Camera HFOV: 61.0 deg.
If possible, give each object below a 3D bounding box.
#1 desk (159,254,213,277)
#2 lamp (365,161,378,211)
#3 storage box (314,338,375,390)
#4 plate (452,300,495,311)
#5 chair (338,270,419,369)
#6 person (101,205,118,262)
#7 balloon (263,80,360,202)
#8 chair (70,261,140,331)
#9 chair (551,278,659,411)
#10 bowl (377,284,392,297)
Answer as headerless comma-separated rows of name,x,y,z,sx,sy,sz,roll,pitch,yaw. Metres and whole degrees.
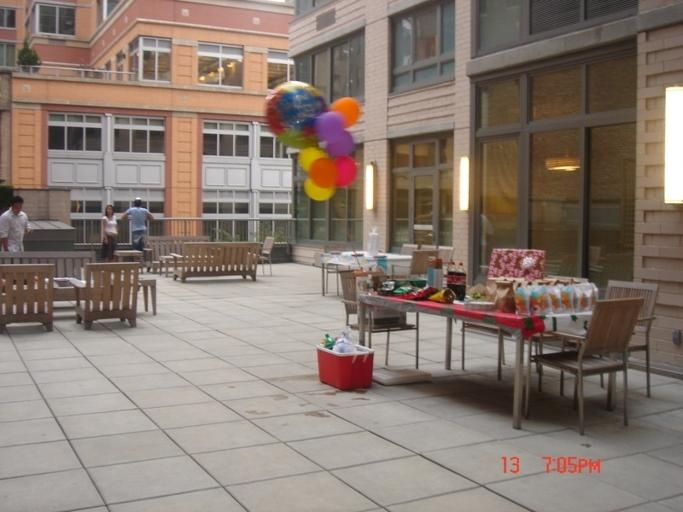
desk,-4.563,0.268,17.322,0.921,0.626,1.527,0,5,-21
lamp,0.898,-2.163,17.907,0.158,1.495,0.485,-3,8,-38
storage box,0.033,1.324,7.182,0.536,0.411,0.636,0,3,-34
plate,1.423,0.517,6.412,0.268,0.089,0.498,-2,5,-30
chair,0.489,0.983,8.573,0.995,1.335,0.826,16,0,9
person,-7.750,-0.776,19.318,0.407,1.855,1.048,-1,6,-25
balloon,-0.372,-1.531,7.646,1.255,1.493,0.699,0,6,-10
chair,-4.214,0.584,10.530,1.410,1.474,1.169,-1,7,-27
chair,3.332,1.000,7.438,1.275,1.294,1.287,2,6,41
bowl,0.563,0.434,7.472,0.163,0.090,0.155,0,-1,0
